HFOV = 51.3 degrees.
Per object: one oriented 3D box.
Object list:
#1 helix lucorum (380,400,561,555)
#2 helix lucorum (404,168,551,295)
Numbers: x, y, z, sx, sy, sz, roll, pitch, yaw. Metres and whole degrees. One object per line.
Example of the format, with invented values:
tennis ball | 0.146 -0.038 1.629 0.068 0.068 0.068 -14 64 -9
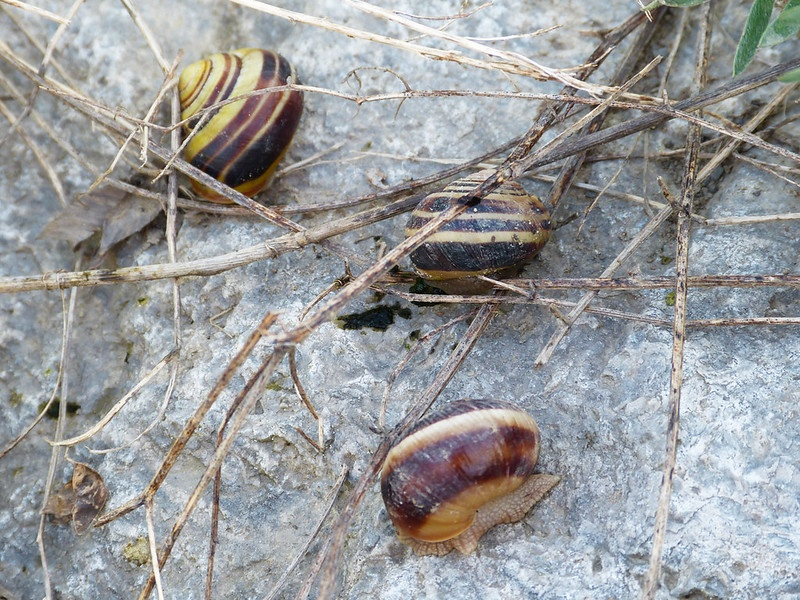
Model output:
helix lucorum | 0.183 0.504 2.405 0.504 0.186 0.366 -31 69 -4
helix lucorum | 0.243 -0.197 2.555 0.342 0.199 0.404 23 68 22
